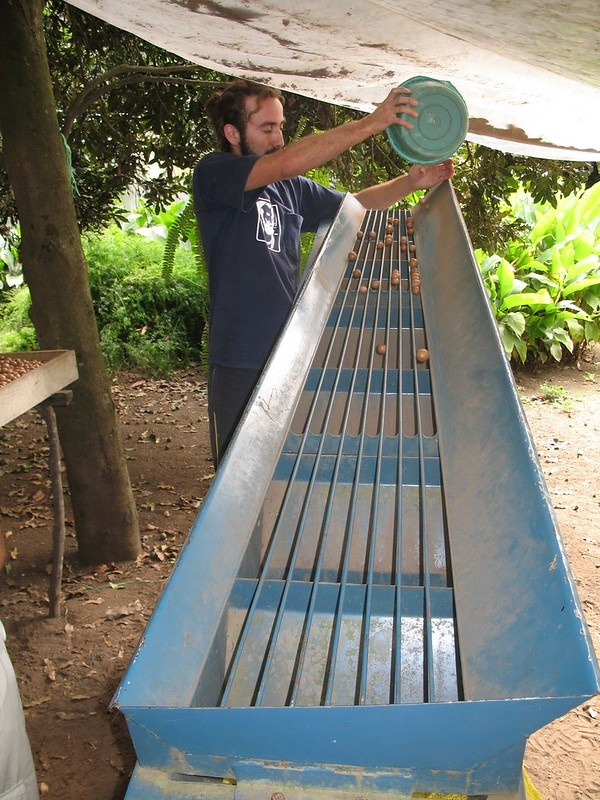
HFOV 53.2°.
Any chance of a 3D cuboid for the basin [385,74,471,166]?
[{"bbox_3d":[0.400,-0.827,1.795,0.246,0.228,0.282,19,28,35],"label":"basin"}]
